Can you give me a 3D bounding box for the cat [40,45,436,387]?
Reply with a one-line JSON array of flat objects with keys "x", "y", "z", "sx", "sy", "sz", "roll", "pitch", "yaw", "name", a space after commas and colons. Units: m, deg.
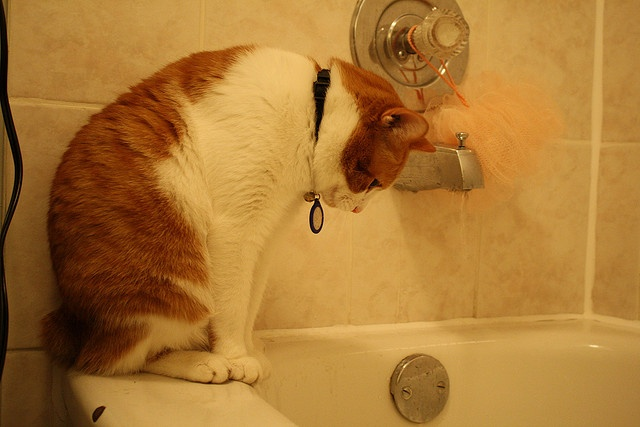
[{"x": -0.228, "y": -0.003, "z": 1.578, "sx": 0.866, "sy": 0.808, "sz": 0.228, "roll": 2, "pitch": -12, "yaw": -6, "name": "cat"}]
